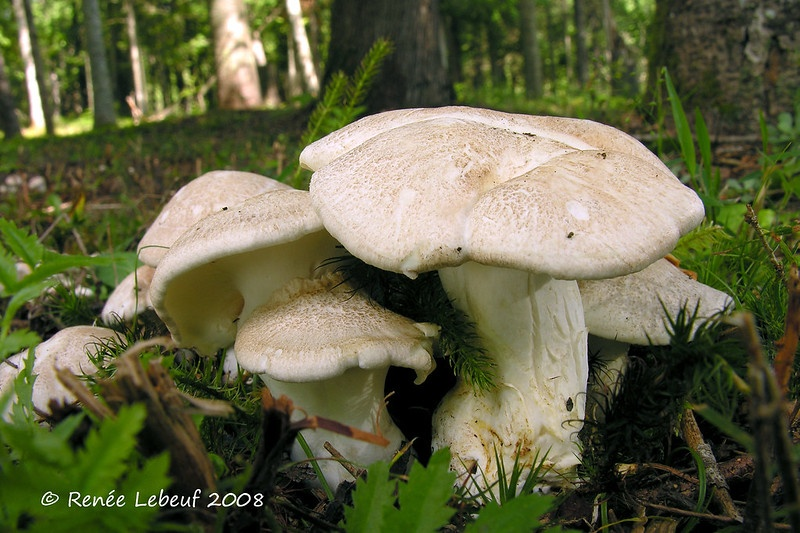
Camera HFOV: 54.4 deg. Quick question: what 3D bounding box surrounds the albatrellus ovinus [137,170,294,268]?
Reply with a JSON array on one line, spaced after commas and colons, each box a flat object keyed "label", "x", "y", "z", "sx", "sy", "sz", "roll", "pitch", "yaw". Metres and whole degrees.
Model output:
[{"label": "albatrellus ovinus", "x": -1.135, "y": -0.314, "z": 4.594, "sx": 0.650, "sy": 0.265, "sz": 0.658, "roll": -30, "pitch": 3, "yaw": 7}]
